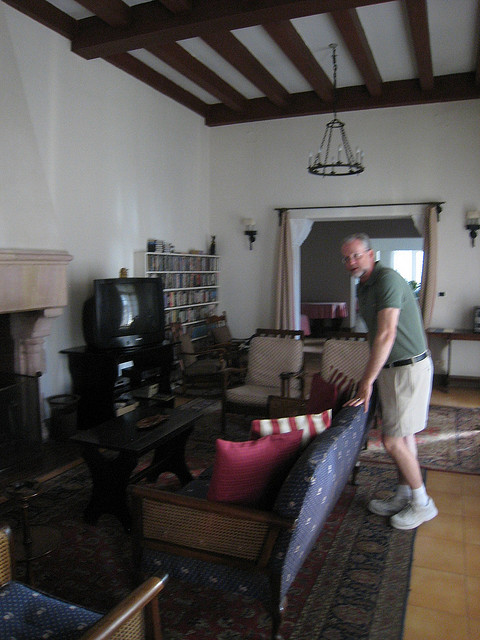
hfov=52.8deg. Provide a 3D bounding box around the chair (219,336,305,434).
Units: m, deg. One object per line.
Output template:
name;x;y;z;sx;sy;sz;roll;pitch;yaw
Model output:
chair;0.221;0.562;4.350;0.641;0.801;0.654;2;4;24

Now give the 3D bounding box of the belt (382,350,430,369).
belt;0.900;0.213;2.556;0.274;0.088;0.102;-2;5;-9

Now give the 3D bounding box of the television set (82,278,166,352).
television set;-1.114;-0.079;4.721;0.294;0.629;1.021;7;7;31

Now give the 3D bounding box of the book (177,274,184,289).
book;-0.823;-0.534;6.564;0.068;0.181;0.204;0;3;9

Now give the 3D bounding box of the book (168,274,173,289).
book;-0.918;-0.516;6.317;0.068;0.164;0.159;-7;-20;-1

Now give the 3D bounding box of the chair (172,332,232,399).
chair;-0.423;0.562;6.089;0.750;0.985;0.803;0;5;15

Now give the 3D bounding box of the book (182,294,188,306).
book;-0.775;-0.290;6.723;0.017;0.169;0.178;0;1;21

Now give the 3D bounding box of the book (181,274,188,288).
book;-0.781;-0.548;6.678;0.109;0.173;0.192;1;3;10
